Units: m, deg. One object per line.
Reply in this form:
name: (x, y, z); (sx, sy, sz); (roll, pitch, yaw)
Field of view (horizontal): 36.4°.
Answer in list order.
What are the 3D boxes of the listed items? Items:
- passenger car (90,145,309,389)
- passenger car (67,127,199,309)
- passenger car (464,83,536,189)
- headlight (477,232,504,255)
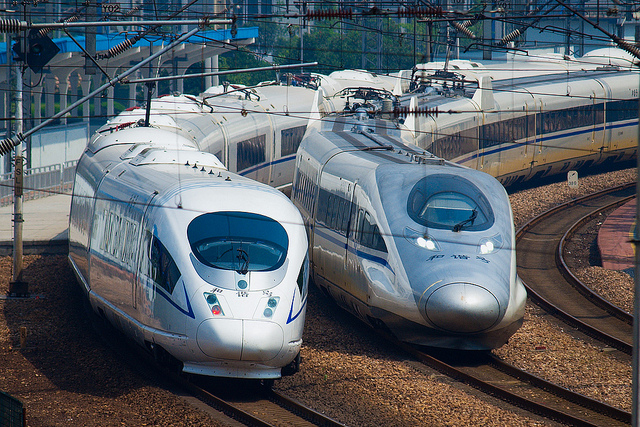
passenger car: (-4.350, 0.606, 29.478); (4.299, 5.062, 13.574); (6, 9, -26)
passenger car: (-6.740, -0.854, 29.621); (2.406, 4.033, 8.104); (-1, 9, -9)
passenger car: (8.290, -3.300, 43.328); (2.328, 3.668, 8.084); (-2, 8, 39)
headlight: (4.618, 0.831, 26.331); (0.978, 0.421, 0.357); (-12, 21, -38)
